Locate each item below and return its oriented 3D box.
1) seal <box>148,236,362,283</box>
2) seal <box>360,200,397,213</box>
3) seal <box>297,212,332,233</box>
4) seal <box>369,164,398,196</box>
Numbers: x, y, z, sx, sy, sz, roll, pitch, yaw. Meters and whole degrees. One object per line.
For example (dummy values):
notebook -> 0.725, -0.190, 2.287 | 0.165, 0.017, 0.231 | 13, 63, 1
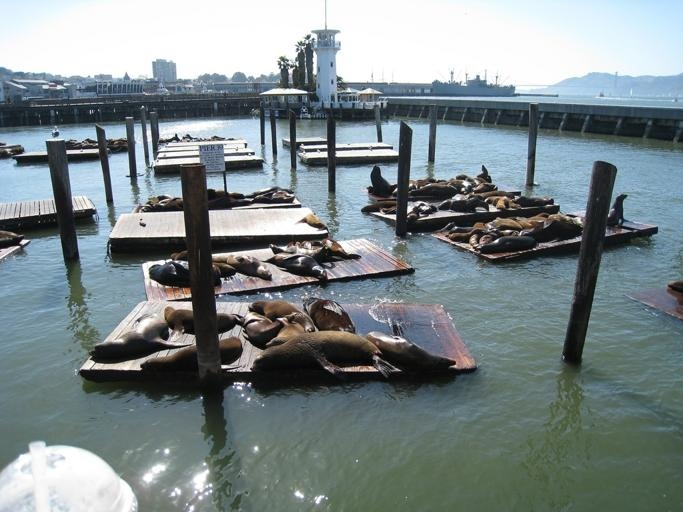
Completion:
seal -> -1.960, 0.096, 11.965 | 4.503, 0.522, 1.943 | -6, 15, -13
seal -> 1.249, -1.654, 17.405 | 1.285, 0.314, 0.417 | -15, 4, 32
seal -> -0.710, -0.948, 14.519 | 0.571, 0.210, 0.716 | 13, 10, -39
seal -> 1.509, -2.868, 19.824 | 0.986, 1.145, 0.862 | -2, 17, 7
